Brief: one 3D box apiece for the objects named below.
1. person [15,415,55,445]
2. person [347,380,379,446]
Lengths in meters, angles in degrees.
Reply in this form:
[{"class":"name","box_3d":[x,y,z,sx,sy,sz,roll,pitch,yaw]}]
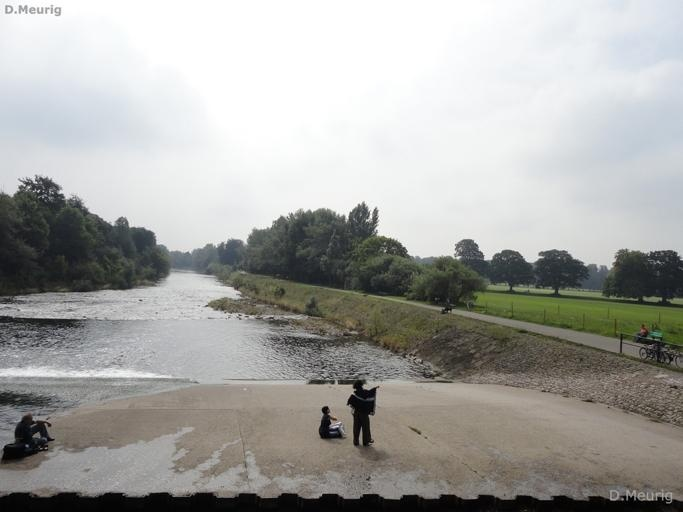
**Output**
[{"class":"person","box_3d":[-12.449,6.985,20.120,1.197,1.490,0.817,-7,9,-43]},{"class":"person","box_3d":[0.883,6.415,20.865,1.033,2.618,1.359,0,7,2]}]
